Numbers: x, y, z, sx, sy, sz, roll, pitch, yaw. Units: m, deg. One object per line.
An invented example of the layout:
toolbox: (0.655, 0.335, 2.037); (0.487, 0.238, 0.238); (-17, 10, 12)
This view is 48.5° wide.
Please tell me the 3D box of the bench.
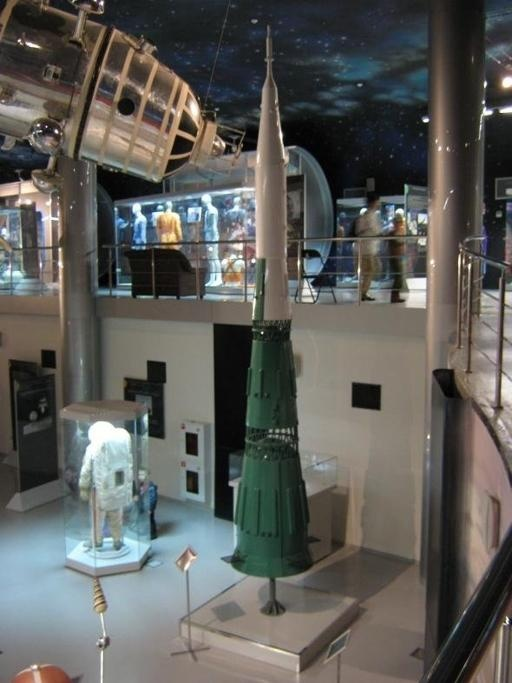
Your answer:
bench: (-1.653, -1.263, 10.275); (1.163, 0.940, 0.719); (4, 11, 24)

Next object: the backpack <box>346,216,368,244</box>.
backpack: (1.590, -1.778, 8.727); (0.208, 0.377, 0.633); (0, 5, 4)

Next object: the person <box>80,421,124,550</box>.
person: (-1.939, 1.836, 7.103); (0.540, 1.712, 0.372); (-1, 4, -9)

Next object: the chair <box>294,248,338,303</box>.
chair: (1.175, -1.212, 10.530); (0.793, 0.987, 0.798); (-5, 4, 30)

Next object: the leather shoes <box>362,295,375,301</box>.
leather shoes: (1.661, -0.639, 8.414); (0.123, 0.091, 0.047); (-6, 38, 1)
